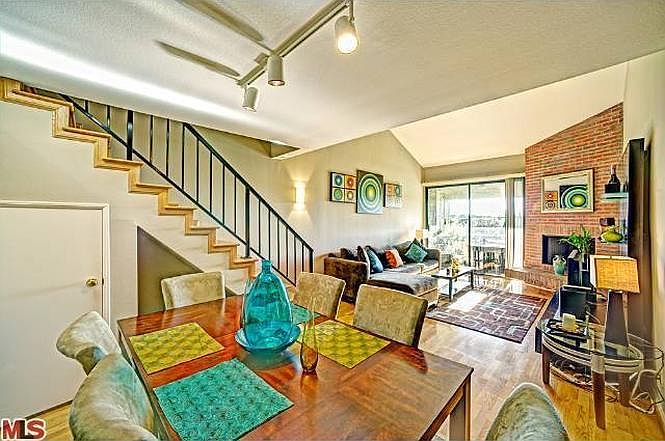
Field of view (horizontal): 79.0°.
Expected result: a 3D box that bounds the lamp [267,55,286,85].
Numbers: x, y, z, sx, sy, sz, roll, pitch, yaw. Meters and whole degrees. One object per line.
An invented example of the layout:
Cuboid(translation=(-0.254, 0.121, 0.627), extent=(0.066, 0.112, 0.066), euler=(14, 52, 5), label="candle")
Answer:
Cuboid(translation=(-0.511, -1.344, 3.628), extent=(0.148, 0.255, 0.157), euler=(-1, 1, -10), label="lamp")

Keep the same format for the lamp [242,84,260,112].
Cuboid(translation=(-0.793, -1.207, 3.971), extent=(0.140, 0.231, 0.220), euler=(-1, 1, -10), label="lamp")

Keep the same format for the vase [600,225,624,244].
Cuboid(translation=(3.248, 0.162, 4.801), extent=(0.258, 0.248, 0.280), euler=(0, 1, 40), label="vase")

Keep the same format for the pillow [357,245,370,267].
Cuboid(translation=(0.502, 0.564, 6.617), extent=(0.074, 0.254, 0.230), euler=(-8, 7, -23), label="pillow")

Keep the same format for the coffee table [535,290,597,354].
Cuboid(translation=(2.607, 1.044, 4.705), extent=(0.586, 0.344, 1.449), euler=(3, 10, 36), label="coffee table")

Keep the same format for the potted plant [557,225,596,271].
Cuboid(translation=(3.634, 0.403, 6.146), extent=(0.618, 0.749, 0.740), euler=(-2, 1, 9), label="potted plant")

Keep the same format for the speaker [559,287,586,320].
Cuboid(translation=(2.741, 0.982, 4.727), extent=(0.316, 0.449, 0.244), euler=(-1, -4, 39), label="speaker")

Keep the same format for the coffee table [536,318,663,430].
Cuboid(translation=(2.636, 1.523, 4.074), extent=(1.039, 0.868, 0.627), euler=(0, 1, 6), label="coffee table")

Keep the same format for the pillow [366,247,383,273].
Cuboid(translation=(0.689, 0.674, 6.892), extent=(0.163, 0.377, 0.369), euler=(-18, -17, 30), label="pillow")
